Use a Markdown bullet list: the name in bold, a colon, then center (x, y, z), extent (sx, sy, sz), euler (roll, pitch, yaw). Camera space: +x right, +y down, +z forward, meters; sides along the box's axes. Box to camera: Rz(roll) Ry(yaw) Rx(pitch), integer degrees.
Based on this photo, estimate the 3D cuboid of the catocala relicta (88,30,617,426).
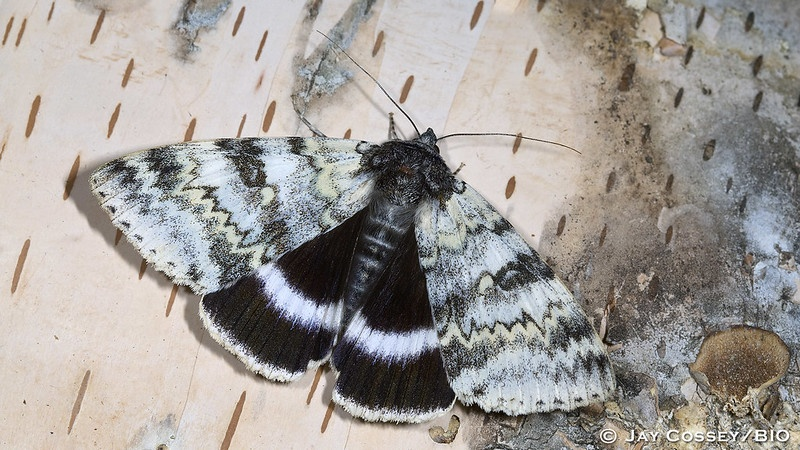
- **catocala relicta**: center (-0.298, 0.424, 6.704), extent (5.046, 1.672, 1.876), euler (4, 75, 5)
